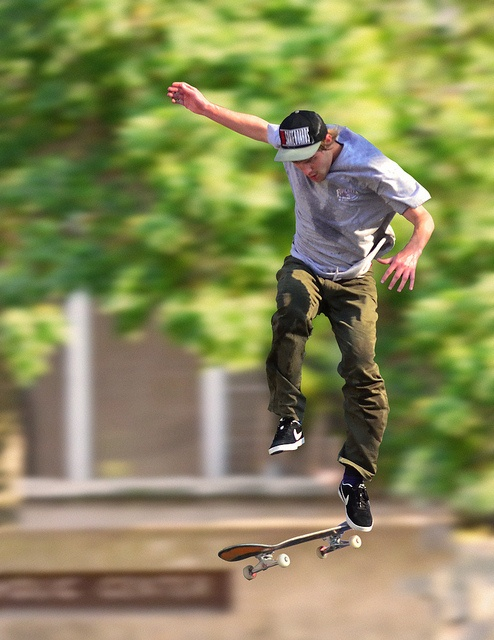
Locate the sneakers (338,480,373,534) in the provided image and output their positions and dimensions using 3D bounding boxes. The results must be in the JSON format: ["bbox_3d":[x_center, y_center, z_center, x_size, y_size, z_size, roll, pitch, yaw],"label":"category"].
[{"bbox_3d":[0.645,1.026,4.791,0.141,0.126,0.324,5,35,-29],"label":"sneakers"}]

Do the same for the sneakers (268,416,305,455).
[{"bbox_3d":[0.206,0.608,4.584,0.165,0.138,0.223,2,27,7],"label":"sneakers"}]

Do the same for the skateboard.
[{"bbox_3d":[0.234,1.409,5.360,1.381,0.337,0.168,-11,58,9],"label":"skateboard"}]

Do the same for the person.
[{"bbox_3d":[0.541,-0.008,4.699,0.828,1.989,1.077,3,33,10],"label":"person"}]
